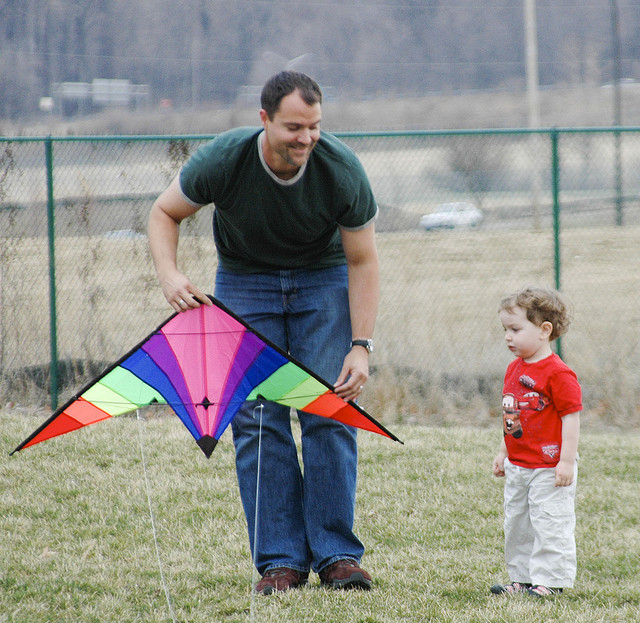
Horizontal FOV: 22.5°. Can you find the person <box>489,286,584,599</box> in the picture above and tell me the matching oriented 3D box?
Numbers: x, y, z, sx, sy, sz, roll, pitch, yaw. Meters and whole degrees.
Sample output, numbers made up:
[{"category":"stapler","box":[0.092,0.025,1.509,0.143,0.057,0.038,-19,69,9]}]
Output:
[{"category":"person","box":[1.315,0.778,9.699,0.517,1.727,0.686,1,14,7]}]

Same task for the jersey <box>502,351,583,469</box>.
[{"category":"jersey","box":[1.338,0.622,9.737,0.382,0.813,0.650,5,-7,-37]}]

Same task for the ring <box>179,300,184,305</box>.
[{"category":"ring","box":[-0.818,-0.049,9.444,0.026,0.022,0.007,-4,14,-10]}]

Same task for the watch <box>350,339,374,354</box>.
[{"category":"watch","box":[0.255,0.211,9.630,0.104,0.083,0.118,4,-13,7]}]
